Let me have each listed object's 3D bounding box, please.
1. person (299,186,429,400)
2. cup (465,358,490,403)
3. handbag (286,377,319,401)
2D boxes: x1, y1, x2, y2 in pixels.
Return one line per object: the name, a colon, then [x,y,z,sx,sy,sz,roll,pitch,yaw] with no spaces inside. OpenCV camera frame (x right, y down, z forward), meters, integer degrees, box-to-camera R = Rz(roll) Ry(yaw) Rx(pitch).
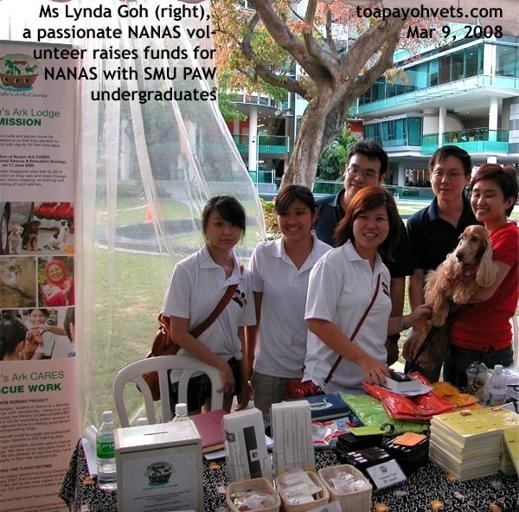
person: [0.422,0.146,2.209,0.453,0.914,0.561,-2,3,21]
cup: [0.960,0.549,2.081,0.115,0.218,0.162,-8,-16,36]
handbag: [0.197,0.606,2.194,0.088,0.055,0.137,1,-4,-13]
